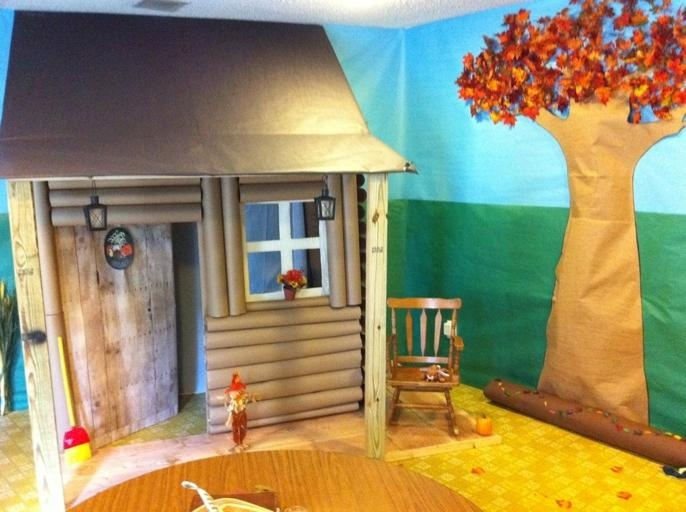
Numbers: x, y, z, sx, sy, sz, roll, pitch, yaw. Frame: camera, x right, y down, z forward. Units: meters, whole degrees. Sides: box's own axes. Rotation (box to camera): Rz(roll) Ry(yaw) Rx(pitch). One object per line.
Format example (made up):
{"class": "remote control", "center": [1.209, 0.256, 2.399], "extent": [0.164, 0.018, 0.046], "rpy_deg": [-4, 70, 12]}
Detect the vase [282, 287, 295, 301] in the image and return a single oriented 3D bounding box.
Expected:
{"class": "vase", "center": [-0.611, 0.434, 6.256], "extent": [0.150, 0.121, 0.143], "rpy_deg": [-4, 15, -14]}

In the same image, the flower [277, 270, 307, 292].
{"class": "flower", "center": [-0.581, 0.269, 6.303], "extent": [0.255, 0.158, 0.252], "rpy_deg": [5, 8, 1]}

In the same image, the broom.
{"class": "broom", "center": [-2.854, 1.505, 5.684], "extent": [0.307, 1.307, 0.309], "rpy_deg": [-5, 1, 25]}
